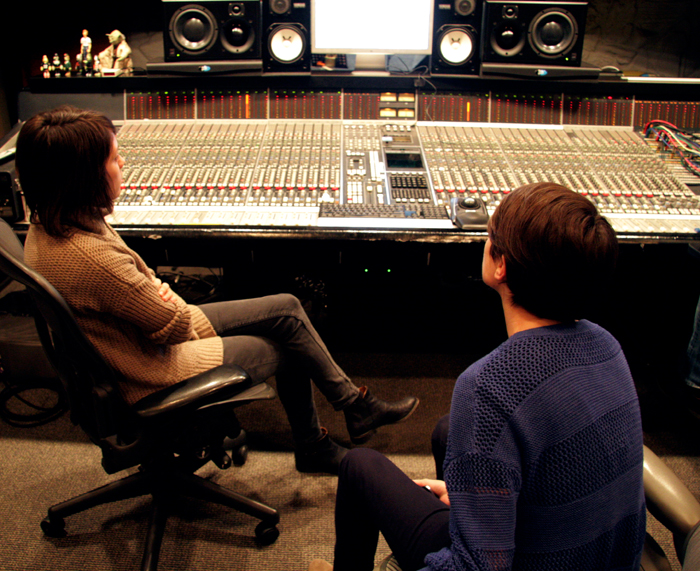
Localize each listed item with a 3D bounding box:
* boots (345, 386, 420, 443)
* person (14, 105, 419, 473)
[{"bbox_3d":[0.146,0.609,2.780,0.353,0.244,0.118,-29,26,-2],"label":"boots"},{"bbox_3d":[-0.412,0.093,2.255,1.294,1.401,0.567,-9,17,-18],"label":"person"}]
